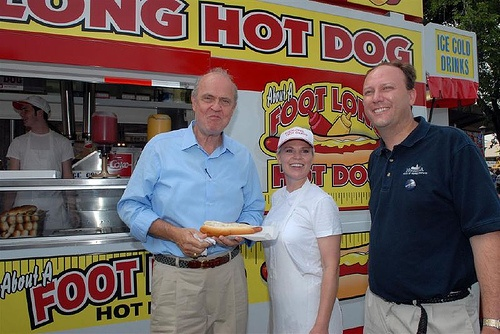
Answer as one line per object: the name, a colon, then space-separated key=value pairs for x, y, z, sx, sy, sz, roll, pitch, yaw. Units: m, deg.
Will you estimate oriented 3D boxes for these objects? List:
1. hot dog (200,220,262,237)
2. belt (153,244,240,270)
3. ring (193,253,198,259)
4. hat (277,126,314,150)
hot dog: x=-0.177 y=0.516 z=3.416 sx=0.342 sy=0.112 sz=0.199 roll=2 pitch=-4 yaw=0
belt: x=-0.458 y=0.795 z=3.565 sx=0.746 sy=0.178 sz=0.184 roll=-2 pitch=0 yaw=-9
ring: x=-0.457 y=0.737 z=3.393 sx=0.056 sy=0.063 sz=0.022 roll=1 pitch=16 yaw=1
hat: x=0.421 y=-0.246 z=3.752 sx=0.241 sy=0.200 sz=0.416 roll=3 pitch=-4 yaw=9
